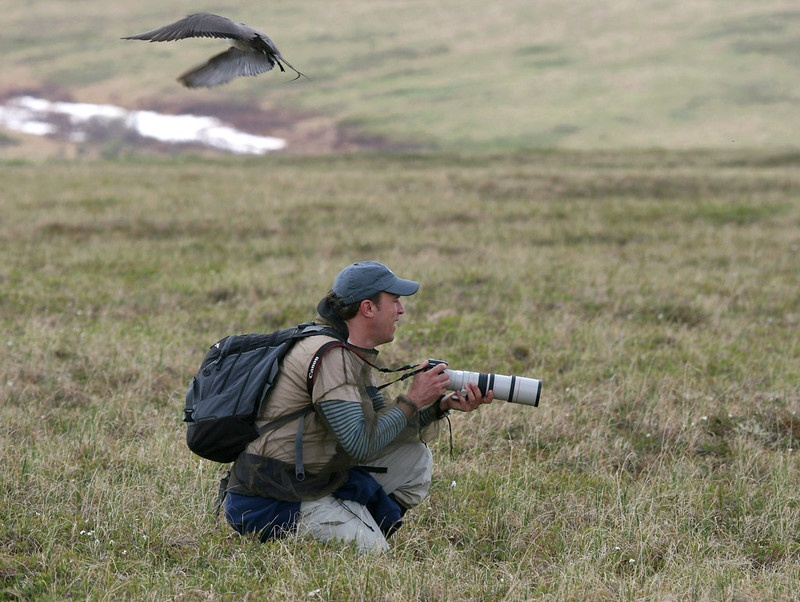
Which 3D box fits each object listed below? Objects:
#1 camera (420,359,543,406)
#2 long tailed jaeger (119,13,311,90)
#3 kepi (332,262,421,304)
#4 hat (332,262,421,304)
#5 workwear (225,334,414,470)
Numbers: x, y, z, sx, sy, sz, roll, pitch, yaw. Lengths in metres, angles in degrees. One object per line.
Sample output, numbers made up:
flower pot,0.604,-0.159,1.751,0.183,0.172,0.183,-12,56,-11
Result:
camera,0.798,0.838,14.471,1.256,0.452,0.312,6,13,0
long tailed jaeger,-1.774,-2.702,14.879,1.627,0.710,2.447,0,-5,7
kepi,-0.277,-0.218,14.240,0.673,0.312,0.445,-6,6,-7
hat,-0.244,-0.211,14.429,0.928,0.407,0.609,-9,2,-9
workwear,-0.843,0.947,14.570,1.346,1.485,1.645,0,-2,42
